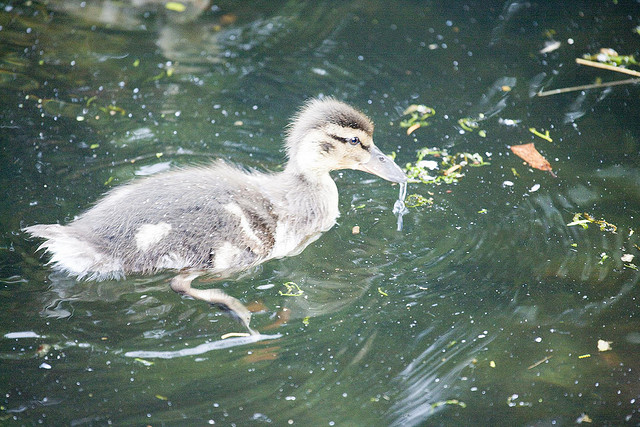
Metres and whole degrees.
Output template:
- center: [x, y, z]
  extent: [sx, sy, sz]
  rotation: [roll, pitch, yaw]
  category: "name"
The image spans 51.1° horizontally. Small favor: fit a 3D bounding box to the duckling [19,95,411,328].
- center: [-0.768, -0.084, 5.382]
  extent: [2.587, 1.064, 1.244]
  rotation: [-24, 60, -28]
  category: "duckling"
